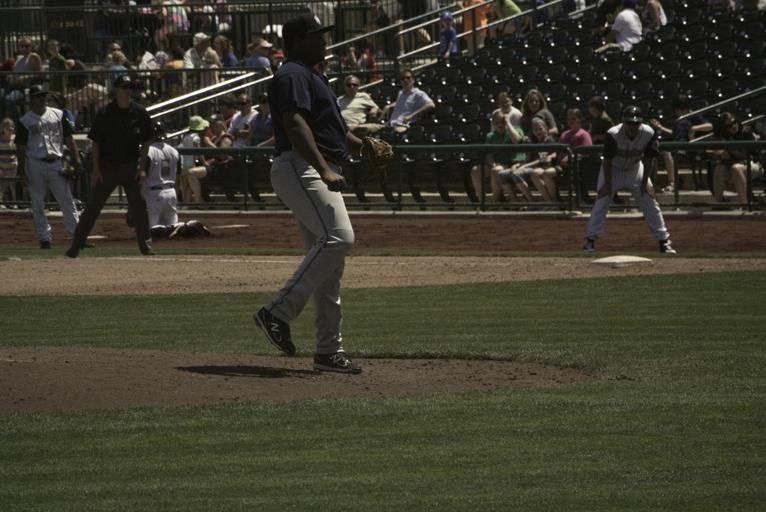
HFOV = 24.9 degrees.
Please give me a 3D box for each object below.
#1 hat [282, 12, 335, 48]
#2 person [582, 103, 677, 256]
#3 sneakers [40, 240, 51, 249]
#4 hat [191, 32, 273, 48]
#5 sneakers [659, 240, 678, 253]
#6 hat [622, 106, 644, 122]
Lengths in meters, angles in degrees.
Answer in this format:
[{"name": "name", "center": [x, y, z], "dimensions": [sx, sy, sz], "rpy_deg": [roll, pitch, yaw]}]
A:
[{"name": "hat", "center": [-0.846, -2.648, 20.078], "dimensions": [0.573, 0.230, 0.352], "rpy_deg": [-17, 10, 1]}, {"name": "person", "center": [3.745, -1.142, 26.089], "dimensions": [1.348, 2.195, 0.799], "rpy_deg": [0, 9, 7]}, {"name": "sneakers", "center": [-5.197, -0.178, 27.109], "dimensions": [0.155, 0.088, 0.140], "rpy_deg": [0, -3, -25]}, {"name": "hat", "center": [-3.143, -4.663, 37.214], "dimensions": [0.994, 0.199, 0.928], "rpy_deg": [-1, 0, -45]}, {"name": "sneakers", "center": [4.345, -0.142, 26.188], "dimensions": [0.320, 0.233, 0.177], "rpy_deg": [-1, 3, 10]}, {"name": "hat", "center": [3.787, -2.143, 25.956], "dimensions": [0.337, 0.191, 0.412], "rpy_deg": [3, 3, 6]}]
